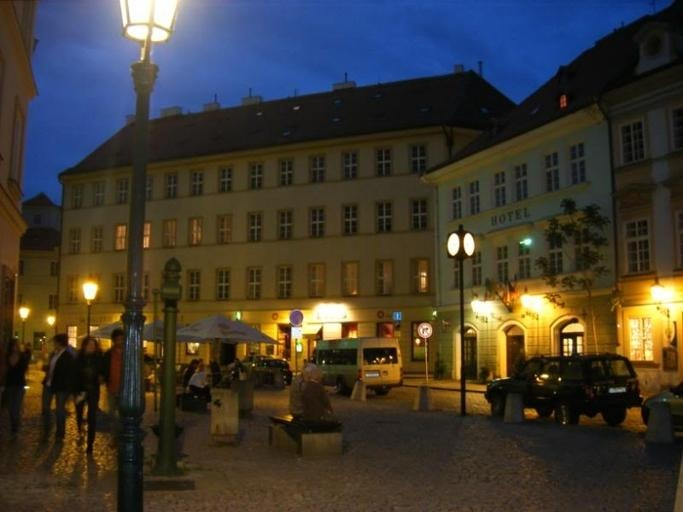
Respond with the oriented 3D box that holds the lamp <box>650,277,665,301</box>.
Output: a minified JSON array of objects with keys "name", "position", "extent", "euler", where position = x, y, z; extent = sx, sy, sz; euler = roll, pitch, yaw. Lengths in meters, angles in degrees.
[{"name":"lamp","position":[12.664,1.259,29.180],"extent":[0.476,0.900,0.650],"euler":[-5,-12,27]}]

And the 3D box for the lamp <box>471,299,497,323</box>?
[{"name":"lamp","position":[7.597,2.882,38.878],"extent":[1.232,1.891,0.819],"euler":[2,-8,4]}]

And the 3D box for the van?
[{"name":"van","position":[0.616,4.805,33.442],"extent":[2.362,2.293,4.013],"euler":[4,-5,-31]}]

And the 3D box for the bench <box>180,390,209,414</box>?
[{"name":"bench","position":[-4.832,4.728,23.893],"extent":[0.623,0.434,0.644],"euler":[8,-10,-29]}]

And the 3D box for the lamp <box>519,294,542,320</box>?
[{"name":"lamp","position":[9.234,2.429,35.453],"extent":[0.943,1.242,1.356],"euler":[0,-11,4]}]

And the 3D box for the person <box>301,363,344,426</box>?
[{"name":"person","position":[-0.522,2.959,16.222],"extent":[0.854,1.119,0.560],"euler":[10,16,35]}]

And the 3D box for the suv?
[{"name":"suv","position":[6.605,3.804,22.135],"extent":[2.072,2.154,4.215],"euler":[6,-9,-32]}]
